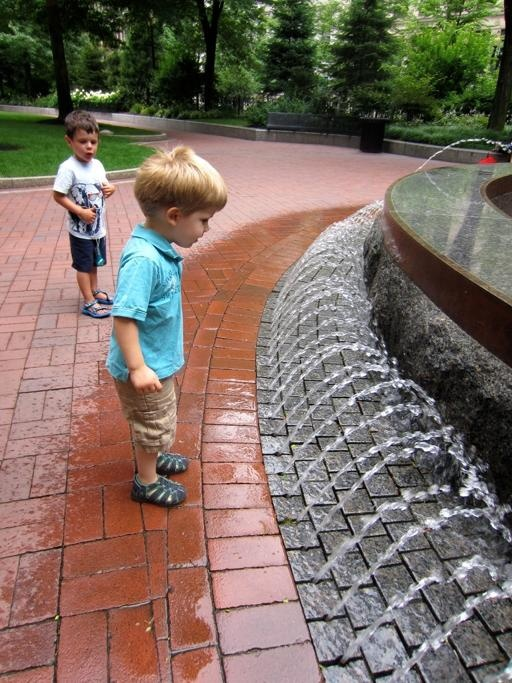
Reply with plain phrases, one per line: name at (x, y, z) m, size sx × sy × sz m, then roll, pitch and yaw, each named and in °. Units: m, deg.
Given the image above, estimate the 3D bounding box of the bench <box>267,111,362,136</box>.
bench at (2.300, -8.724, 19.016) m, size 3.663 × 0.663 × 0.851 m, roll 6°, pitch 27°, yaw 5°

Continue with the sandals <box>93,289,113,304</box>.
sandals at (-1.257, -0.365, 3.886) m, size 0.171 × 0.058 × 0.094 m, roll 21°, pitch 35°, yaw 25°

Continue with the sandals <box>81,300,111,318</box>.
sandals at (-1.237, -0.255, 3.718) m, size 0.227 × 0.091 × 0.128 m, roll 11°, pitch 28°, yaw 14°

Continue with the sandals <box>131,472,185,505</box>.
sandals at (-0.394, 0.582, 1.908) m, size 0.202 × 0.087 × 0.107 m, roll 4°, pitch 23°, yaw -11°

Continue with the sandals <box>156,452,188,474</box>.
sandals at (-0.373, 0.527, 2.093) m, size 0.136 × 0.055 × 0.068 m, roll -3°, pitch 37°, yaw -19°

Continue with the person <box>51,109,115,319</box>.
person at (-1.254, -0.912, 3.538) m, size 0.399 × 1.449 × 0.481 m, roll -3°, pitch 29°, yaw -12°

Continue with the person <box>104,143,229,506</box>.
person at (-0.367, 0.011, 1.733) m, size 0.388 × 1.333 × 0.472 m, roll 12°, pitch 29°, yaw 14°
